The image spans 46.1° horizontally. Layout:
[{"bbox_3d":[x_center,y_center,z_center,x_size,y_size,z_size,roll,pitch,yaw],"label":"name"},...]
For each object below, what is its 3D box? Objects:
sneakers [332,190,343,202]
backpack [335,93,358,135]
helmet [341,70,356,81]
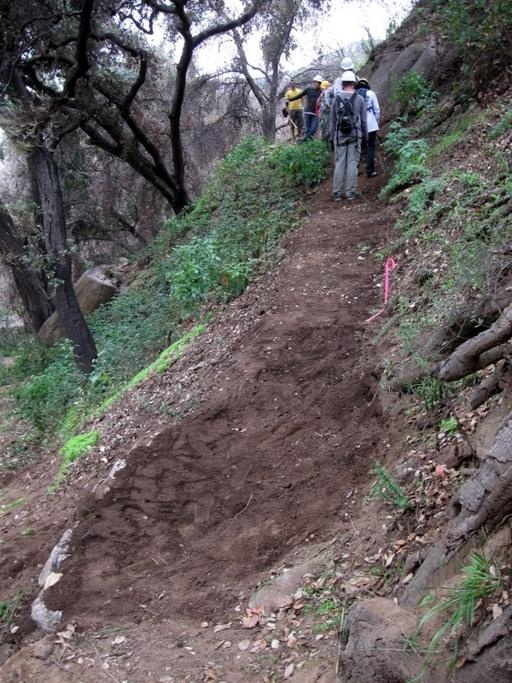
[{"bbox_3d":[1.266,-2.264,9.361,0.114,0.132,0.293,-20,18,23],"label":"sneakers"},{"bbox_3d":[1.303,-3.256,8.671,0.385,0.535,0.234,-13,4,20],"label":"backpack"},{"bbox_3d":[1.317,-3.778,8.625,0.203,0.121,0.256,-1,42,10],"label":"helmet"}]
